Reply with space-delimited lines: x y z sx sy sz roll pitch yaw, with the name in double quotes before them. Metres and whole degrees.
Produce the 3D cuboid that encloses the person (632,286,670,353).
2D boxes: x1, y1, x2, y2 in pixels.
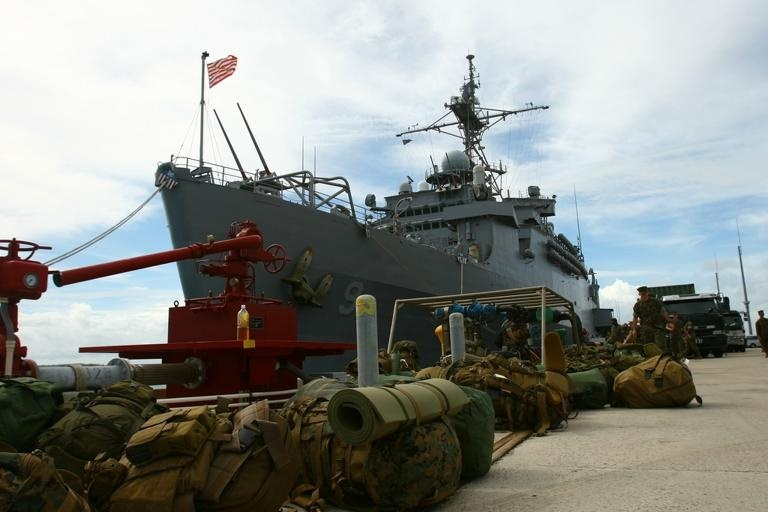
"person" 5.184 1.302 11.472 0.622 1.594 0.456 -13 33 20
